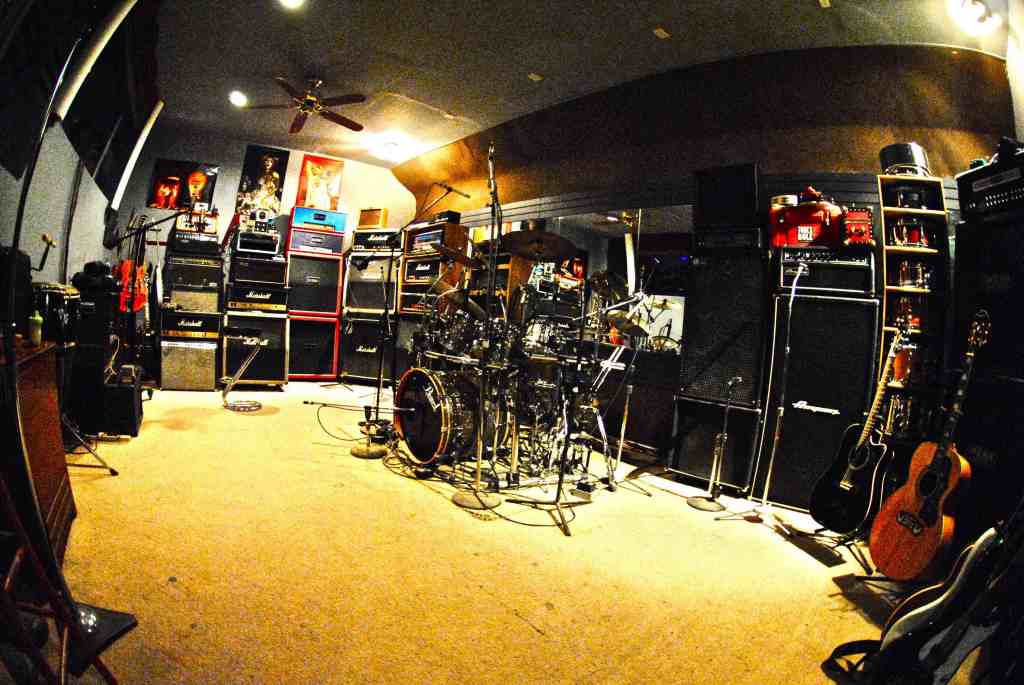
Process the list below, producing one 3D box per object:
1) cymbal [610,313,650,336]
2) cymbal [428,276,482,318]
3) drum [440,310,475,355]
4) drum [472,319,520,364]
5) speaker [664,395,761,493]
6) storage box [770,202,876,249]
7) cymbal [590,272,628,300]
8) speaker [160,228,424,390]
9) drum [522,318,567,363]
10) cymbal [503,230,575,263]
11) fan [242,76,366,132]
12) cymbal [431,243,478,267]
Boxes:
[{"bbox_3d":[0.974,-0.147,5.593,0.220,0.053,0.215,22,18,5],"label":"cymbal"},{"bbox_3d":[-0.500,-0.367,5.611,0.467,0.297,0.734,4,1,-27],"label":"cymbal"},{"bbox_3d":[-0.457,-0.078,5.519,0.257,0.336,0.239,4,1,0],"label":"drum"},{"bbox_3d":[-0.120,-0.016,5.150,0.378,0.353,0.776,4,1,-4],"label":"drum"},{"bbox_3d":[1.714,0.849,5.419,0.755,0.834,0.504,4,-10,45],"label":"speaker"},{"bbox_3d":[2.515,-0.933,5.197,0.499,0.286,0.481,3,3,-4],"label":"storage box"},{"bbox_3d":[0.834,-0.475,5.615,0.269,0.252,0.054,16,44,9],"label":"cymbal"},{"bbox_3d":[-2.724,-0.355,7.817,2.204,2.089,1.286,3,-1,-42],"label":"speaker"},{"bbox_3d":[0.256,-0.019,5.342,0.283,0.122,0.368,20,38,-12],"label":"drum"},{"bbox_3d":[0.198,-0.799,5.389,0.621,0.229,0.561,4,1,-20],"label":"cymbal"},{"bbox_3d":[-2.255,-2.669,7.242,0.843,0.289,0.925,21,-21,-30],"label":"fan"},{"bbox_3d":[-0.460,-0.712,5.425,0.319,0.131,0.322,21,14,-10],"label":"cymbal"}]
